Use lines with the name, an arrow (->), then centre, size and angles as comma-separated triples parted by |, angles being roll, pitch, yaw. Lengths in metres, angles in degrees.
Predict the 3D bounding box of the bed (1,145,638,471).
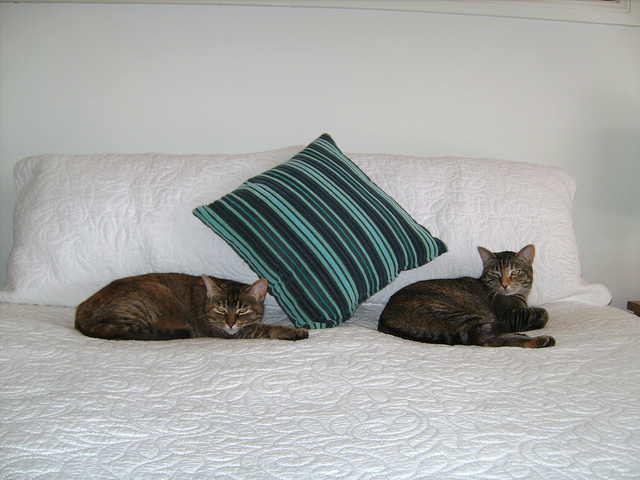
bed -> -0.001, 0.089, 1.826 | 2.094, 0.730, 1.125 | 2, 10, 0

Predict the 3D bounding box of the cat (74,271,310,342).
cat -> -0.413, 0.223, 1.895 | 0.627, 0.146, 0.275 | 3, -10, -15

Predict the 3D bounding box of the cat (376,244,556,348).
cat -> 0.510, 0.175, 1.957 | 0.597, 0.239, 0.462 | -7, 8, -24
